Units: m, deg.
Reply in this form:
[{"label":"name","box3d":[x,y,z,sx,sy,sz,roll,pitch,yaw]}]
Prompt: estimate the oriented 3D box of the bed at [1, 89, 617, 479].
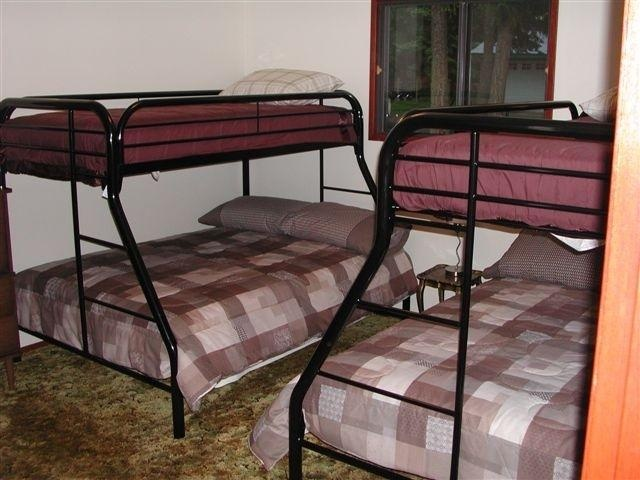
[{"label":"bed","box3d":[-0.183,0.215,2.547,1.964,0.901,1.991,10,13,43]}]
